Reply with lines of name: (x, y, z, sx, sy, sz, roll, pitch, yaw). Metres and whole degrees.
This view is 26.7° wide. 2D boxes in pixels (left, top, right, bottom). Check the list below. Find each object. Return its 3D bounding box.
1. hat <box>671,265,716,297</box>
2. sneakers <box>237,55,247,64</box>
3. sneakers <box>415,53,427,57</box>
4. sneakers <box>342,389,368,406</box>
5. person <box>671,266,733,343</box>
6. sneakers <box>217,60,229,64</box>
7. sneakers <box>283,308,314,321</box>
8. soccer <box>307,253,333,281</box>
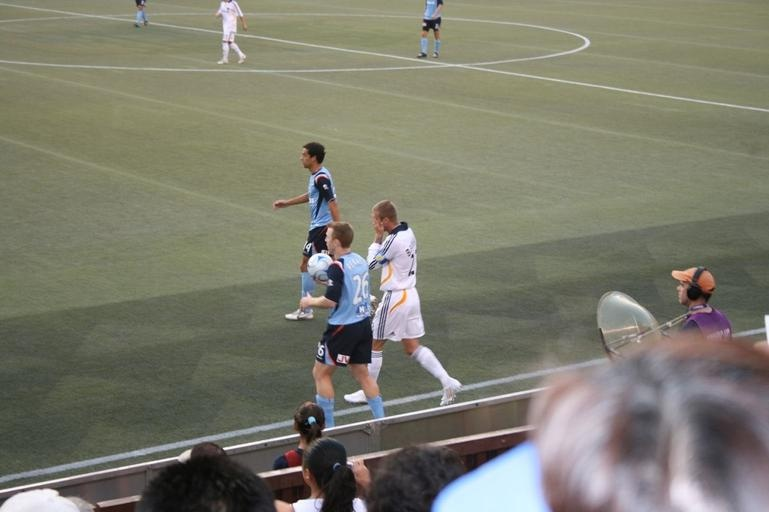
hat: (5.447, 0.447, 28.760, 0.696, 0.274, 0.497, 21, 19, 26)
sneakers: (-4.042, -5.496, 45.739, 0.355, 0.152, 0.113, -25, 14, 47)
sneakers: (1.037, -5.809, 47.155, 0.335, 0.113, 0.109, 5, 16, 18)
sneakers: (-0.552, 2.671, 30.235, 0.425, 0.143, 0.229, 3, 10, 7)
person: (5.621, 0.930, 28.882, 0.918, 1.040, 1.304, 10, 14, 43)
sneakers: (-4.551, -5.413, 45.527, 0.326, 0.109, 0.102, 1, 48, 3)
sneakers: (-1.680, 1.160, 31.712, 0.624, 0.218, 0.195, -1, 40, -2)
soccer: (-1.235, 0.221, 30.597, 0.618, 0.451, 0.476, -2, -19, 10)
